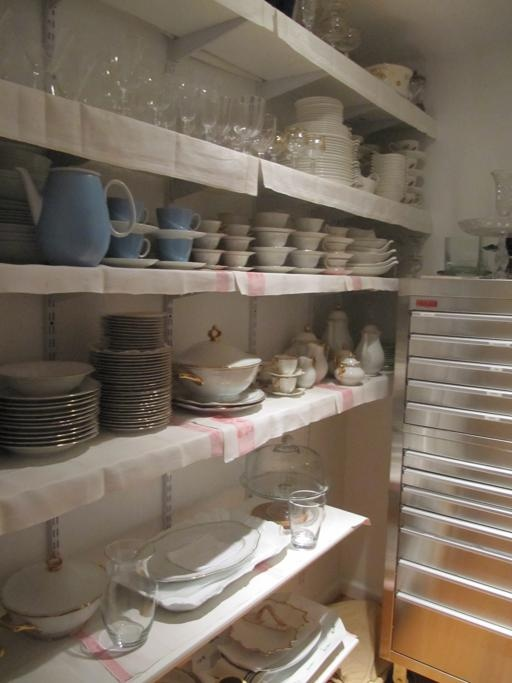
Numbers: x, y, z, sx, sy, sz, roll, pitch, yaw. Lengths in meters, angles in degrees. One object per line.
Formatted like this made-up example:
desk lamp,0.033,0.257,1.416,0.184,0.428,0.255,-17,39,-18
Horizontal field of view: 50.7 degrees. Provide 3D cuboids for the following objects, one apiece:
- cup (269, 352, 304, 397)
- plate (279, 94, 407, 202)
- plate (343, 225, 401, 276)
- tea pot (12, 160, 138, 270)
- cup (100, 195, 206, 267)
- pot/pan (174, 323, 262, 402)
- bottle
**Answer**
cup,0.076,0.093,1.530,0.114,0.101,0.097,-4,13,-15
plate,0.232,-0.572,1.674,0.205,0.249,0.612,7,6,37
plate,0.367,-0.277,1.752,0.172,0.101,0.185,7,1,19
tea pot,-0.262,-0.188,0.839,0.103,0.144,0.199,5,9,28
cup,-0.199,-0.182,0.979,0.131,0.060,0.154,1,-2,16
pot/pan,-0.083,0.042,1.245,0.166,0.123,0.180,4,7,25
bottle,-0.244,0.472,1.031,0.093,0.151,0.177,-1,8,-14
